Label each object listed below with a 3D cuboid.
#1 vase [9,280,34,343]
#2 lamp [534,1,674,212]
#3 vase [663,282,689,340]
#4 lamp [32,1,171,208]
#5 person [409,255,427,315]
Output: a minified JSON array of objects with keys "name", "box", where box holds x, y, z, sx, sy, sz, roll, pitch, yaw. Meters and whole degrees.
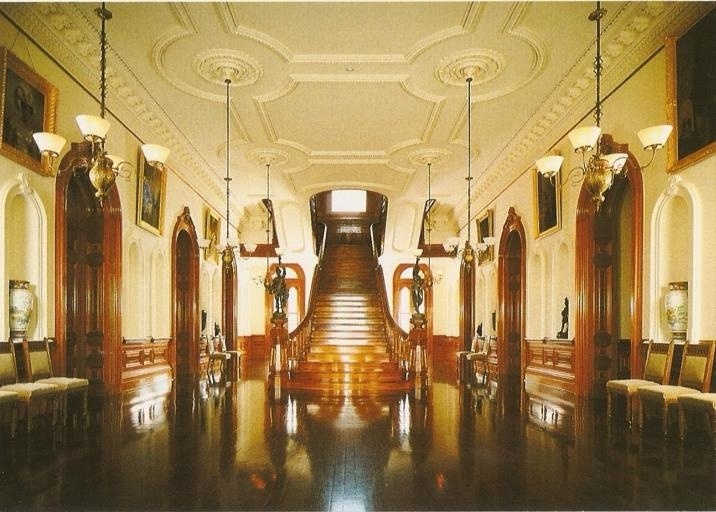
[{"name":"vase","box":[-4.376,0.716,7.347,0.283,0.781,0.224,1,-1,-40]},{"name":"lamp","box":[3.619,-1.896,8.740,1.686,2.908,4.941,0,-2,17]},{"name":"vase","box":[4.142,0.725,7.379,0.281,0.760,0.155,-1,-1,42]},{"name":"lamp","box":[-3.509,-1.968,7.509,1.406,2.852,2.671,1,-2,-34]},{"name":"person","box":[1.252,0.634,11.941,0.348,1.235,0.356,11,22,36]}]
